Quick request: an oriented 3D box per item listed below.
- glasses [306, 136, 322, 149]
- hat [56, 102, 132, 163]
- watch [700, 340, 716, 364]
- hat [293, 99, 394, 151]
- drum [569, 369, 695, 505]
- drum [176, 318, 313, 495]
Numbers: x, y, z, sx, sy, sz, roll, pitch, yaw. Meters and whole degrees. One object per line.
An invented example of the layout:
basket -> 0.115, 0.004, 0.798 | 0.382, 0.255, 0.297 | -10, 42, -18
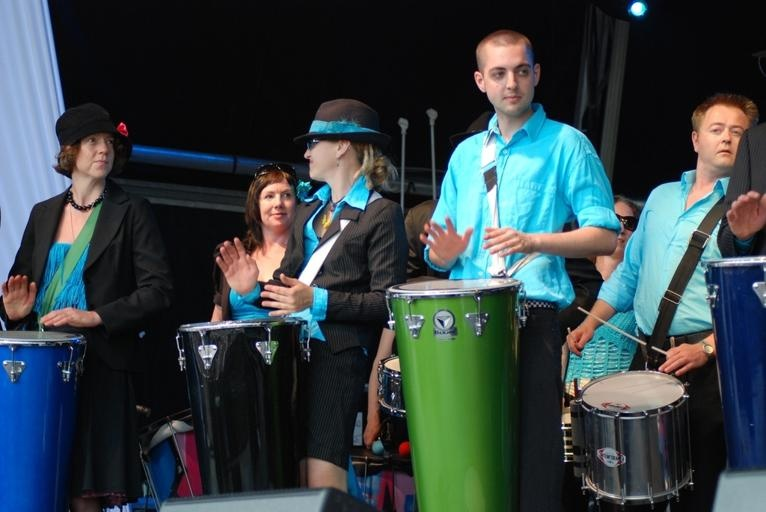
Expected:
glasses -> -0.425, -0.687, 5.767 | 0.087, 0.032, 0.088 | -3, 23, 2
hat -> -2.026, -0.942, 6.656 | 0.447, 0.226, 0.380 | 15, -47, -45
watch -> 1.965, 0.580, 5.689 | 0.074, 0.109, 0.113 | -18, 17, 13
hat -> -0.189, -0.790, 5.752 | 0.399, 0.155, 0.332 | 10, -13, -33
drum -> 1.450, 1.028, 5.573 | 0.738, 0.653, 0.725 | -17, 7, -36
drum -> -0.780, 0.882, 5.799 | 0.936, 1.003, 1.000 | -5, -5, 29
